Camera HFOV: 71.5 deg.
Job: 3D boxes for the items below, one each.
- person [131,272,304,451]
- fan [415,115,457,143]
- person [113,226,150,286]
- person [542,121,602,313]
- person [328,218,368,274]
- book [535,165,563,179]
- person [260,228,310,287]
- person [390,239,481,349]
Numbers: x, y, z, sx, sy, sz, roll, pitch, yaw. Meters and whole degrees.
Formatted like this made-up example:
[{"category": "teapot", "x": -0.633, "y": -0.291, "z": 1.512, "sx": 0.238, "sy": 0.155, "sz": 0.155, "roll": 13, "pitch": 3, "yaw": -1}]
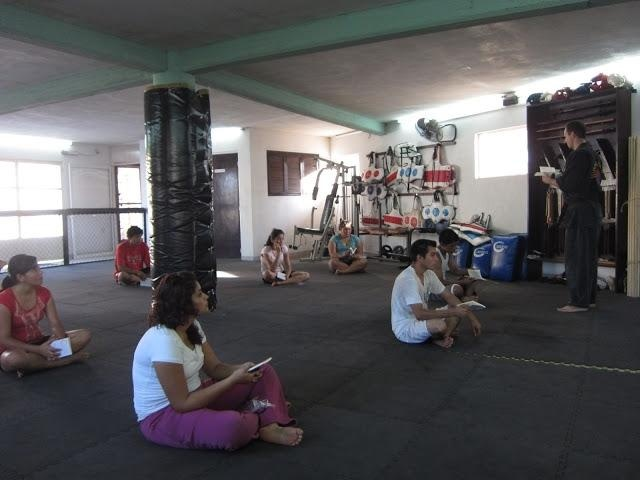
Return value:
[{"category": "person", "x": -0.696, "y": 0.747, "z": 3.093, "sx": 1.231, "sy": 1.141, "sz": 0.897, "roll": -1, "pitch": 3, "yaw": -5}, {"category": "fan", "x": 2.408, "y": -2.280, "z": 9.241, "sx": 0.818, "sy": 0.442, "sz": 0.399, "roll": 12, "pitch": 4, "yaw": 4}, {"category": "person", "x": -3.330, "y": 0.284, "z": 7.830, "sx": 0.560, "sy": 1.053, "sz": 0.609, "roll": -4, "pitch": 6, "yaw": -24}, {"category": "person", "x": 3.096, "y": -0.118, "z": 5.372, "sx": 0.567, "sy": 1.968, "sz": 0.385, "roll": 0, "pitch": 6, "yaw": 17}, {"category": "person", "x": 0.512, "y": 0.155, "z": 8.685, "sx": 0.835, "sy": 0.955, "sz": 0.856, "roll": 9, "pitch": 14, "yaw": 39}, {"category": "book", "x": 3.411, "y": -1.009, "z": 6.587, "sx": 0.540, "sy": 0.186, "sz": 0.190, "roll": -1, "pitch": 4, "yaw": 0}, {"category": "person", "x": -0.624, "y": 0.252, "z": 7.984, "sx": 0.928, "sy": 1.104, "sz": 1.027, "roll": 0, "pitch": 4, "yaw": 31}, {"category": "person", "x": 1.066, "y": 0.481, "z": 4.705, "sx": 1.055, "sy": 1.148, "sz": 0.947, "roll": 1, "pitch": 7, "yaw": 27}]
